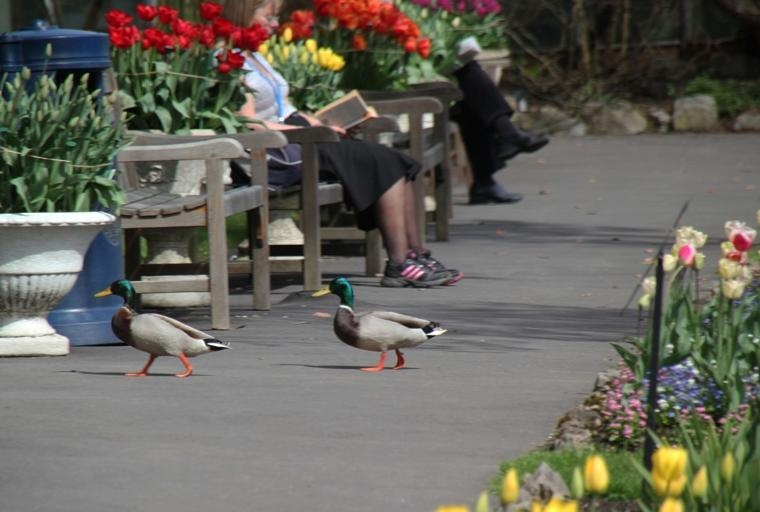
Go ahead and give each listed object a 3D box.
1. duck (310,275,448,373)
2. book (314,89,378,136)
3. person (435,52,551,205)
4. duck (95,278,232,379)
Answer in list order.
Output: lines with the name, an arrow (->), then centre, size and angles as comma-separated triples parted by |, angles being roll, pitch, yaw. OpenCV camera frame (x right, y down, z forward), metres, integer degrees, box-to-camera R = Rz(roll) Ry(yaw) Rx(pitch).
duck -> 0.054, 0.310, 8.081 | 0.731, 0.423, 0.301 | 1, -6, 4
book -> -0.180, -0.892, 10.095 | 0.336, 0.296, 0.107 | -17, 15, 21
person -> 0.862, -1.032, 13.162 | 1.007, 0.727, 1.187 | -3, -32, 1
duck -> -1.083, 0.346, 7.903 | 0.368, 0.419, 0.785 | -7, 11, -36
